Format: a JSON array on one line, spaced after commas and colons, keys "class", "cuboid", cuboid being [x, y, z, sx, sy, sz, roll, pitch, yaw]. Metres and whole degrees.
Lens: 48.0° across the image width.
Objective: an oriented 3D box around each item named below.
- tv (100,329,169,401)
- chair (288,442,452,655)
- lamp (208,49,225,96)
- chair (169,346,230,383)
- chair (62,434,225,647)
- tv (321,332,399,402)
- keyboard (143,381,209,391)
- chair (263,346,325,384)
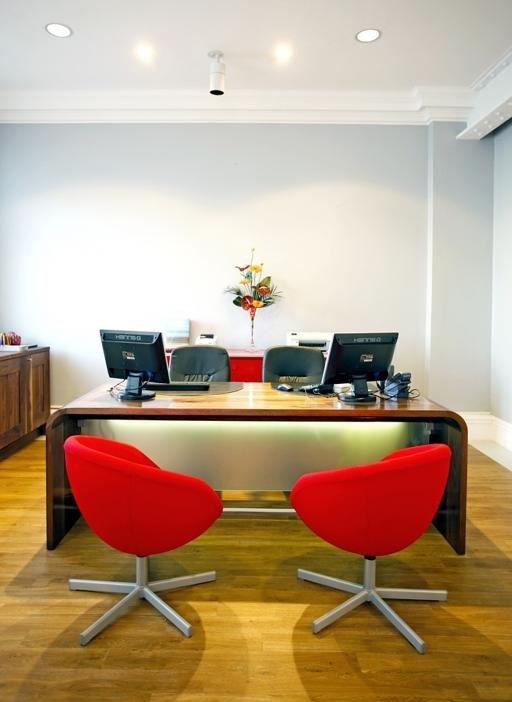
[{"class": "tv", "cuboid": [-0.629, 0.076, 2.972, 0.420, 0.411, 0.155, 2, 12, 22]}, {"class": "chair", "cuboid": [0.434, 0.667, 2.263, 0.669, 0.667, 0.699, 4, 5, 38]}, {"class": "lamp", "cuboid": [-0.278, -1.922, 4.000, 0.109, 0.304, 0.304, -1, 9, -5]}, {"class": "chair", "cuboid": [-0.343, 0.078, 3.521, 0.238, 0.278, 0.339, 0, -15, -1]}, {"class": "chair", "cuboid": [-0.415, 0.657, 2.256, 0.604, 0.647, 0.668, -3, 4, -31]}, {"class": "tv", "cuboid": [0.526, 0.090, 2.913, 0.359, 0.346, 0.172, 0, 5, -11]}, {"class": "keyboard", "cuboid": [-0.425, 0.195, 3.132, 0.236, 0.025, 0.126, 1, 1, -1]}, {"class": "chair", "cuboid": [0.226, 0.062, 3.496, 0.247, 0.331, 0.285, 0, 1, 1]}]
